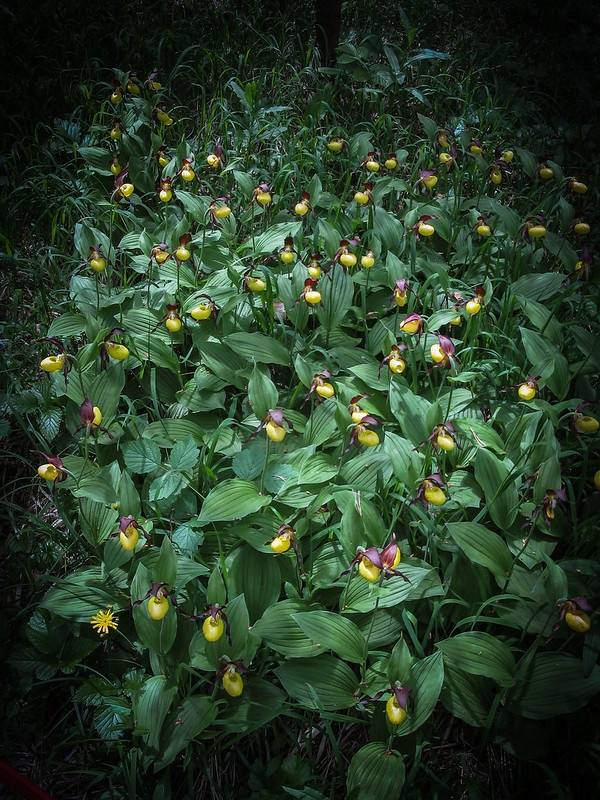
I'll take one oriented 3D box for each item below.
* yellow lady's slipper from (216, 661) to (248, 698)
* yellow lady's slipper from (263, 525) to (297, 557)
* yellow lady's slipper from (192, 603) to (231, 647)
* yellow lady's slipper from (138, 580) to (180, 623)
[{"bbox_3d":[-0.195,0.800,1.735,0.069,0.096,0.069,11,44,3],"label":"yellow lady's slipper"},{"bbox_3d":[-0.043,0.439,1.868,0.080,0.087,0.067,0,44,-8],"label":"yellow lady's slipper"},{"bbox_3d":[-0.247,0.637,1.737,0.071,0.113,0.091,-24,52,-28],"label":"yellow lady's slipper"},{"bbox_3d":[-0.412,0.597,1.821,0.144,0.081,0.134,4,83,1],"label":"yellow lady's slipper"}]
